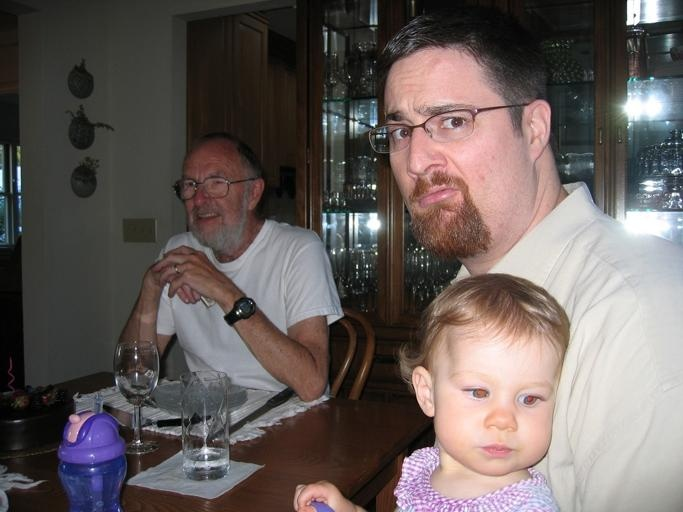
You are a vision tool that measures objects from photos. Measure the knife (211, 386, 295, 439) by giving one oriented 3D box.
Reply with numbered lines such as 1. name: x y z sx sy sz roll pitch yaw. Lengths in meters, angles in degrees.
1. knife: -0.231 0.431 1.765 0.046 0.022 0.418 13 13 27

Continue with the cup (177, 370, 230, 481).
1. cup: -0.320 0.401 1.425 0.106 0.214 0.100 -1 9 0

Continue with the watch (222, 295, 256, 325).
1. watch: -0.346 0.190 2.031 0.107 0.070 0.098 -41 -3 -20
